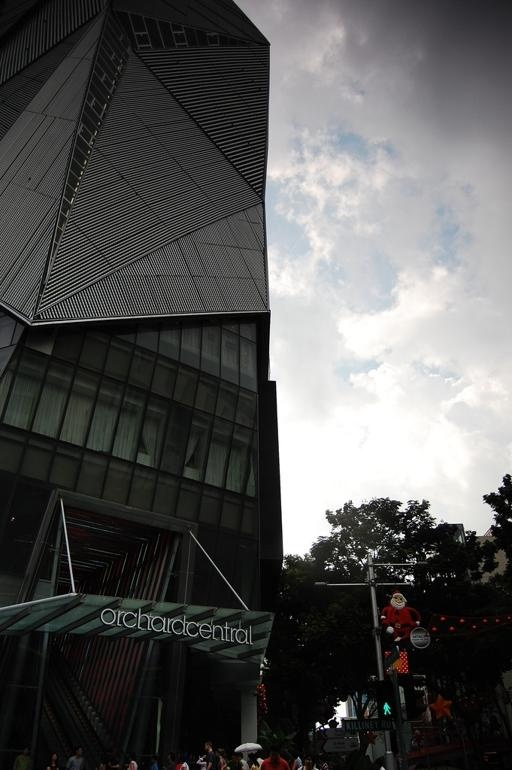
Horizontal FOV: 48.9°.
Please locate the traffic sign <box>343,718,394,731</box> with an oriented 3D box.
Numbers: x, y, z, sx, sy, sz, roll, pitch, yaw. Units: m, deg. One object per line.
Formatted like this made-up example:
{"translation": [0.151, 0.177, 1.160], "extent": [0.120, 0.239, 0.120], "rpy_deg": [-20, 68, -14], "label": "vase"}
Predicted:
{"translation": [1.830, 5.668, 9.391], "extent": [0.717, 0.182, 1.309], "rpy_deg": [0, -33, 2], "label": "traffic sign"}
